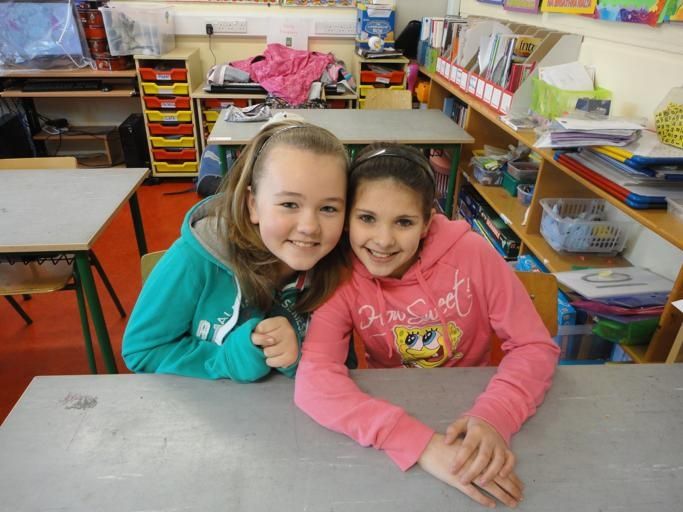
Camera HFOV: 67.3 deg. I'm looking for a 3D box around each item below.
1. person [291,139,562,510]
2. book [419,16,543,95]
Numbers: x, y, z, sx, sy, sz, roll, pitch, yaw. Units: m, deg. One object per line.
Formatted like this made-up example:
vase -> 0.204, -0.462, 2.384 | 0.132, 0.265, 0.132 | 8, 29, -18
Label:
person -> 0.171, 0.198, 1.516 | 0.695, 0.741, 0.923 | -9, 29, 2
book -> 0.883, -1.349, 3.381 | 0.313, 0.451, 1.176 | -8, 29, -21
